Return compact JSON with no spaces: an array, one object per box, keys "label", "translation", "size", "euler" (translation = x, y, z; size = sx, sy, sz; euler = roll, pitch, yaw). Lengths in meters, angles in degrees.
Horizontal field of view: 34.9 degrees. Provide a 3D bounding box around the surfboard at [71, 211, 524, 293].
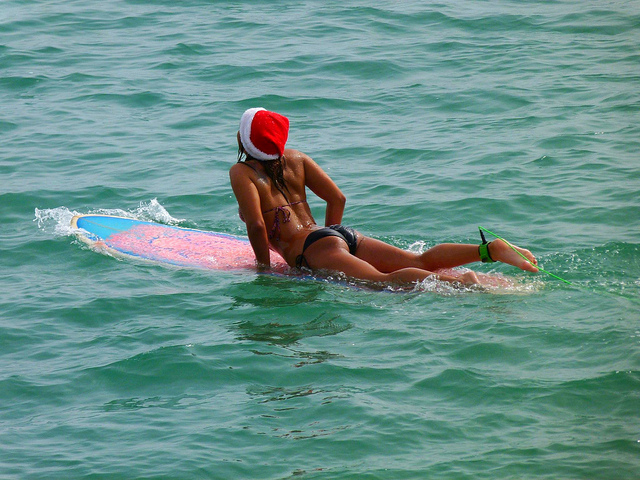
[{"label":"surfboard","translation":[-1.160,0.088,11.472],"size":[7.133,0.374,1.205],"euler":[3,12,9]}]
